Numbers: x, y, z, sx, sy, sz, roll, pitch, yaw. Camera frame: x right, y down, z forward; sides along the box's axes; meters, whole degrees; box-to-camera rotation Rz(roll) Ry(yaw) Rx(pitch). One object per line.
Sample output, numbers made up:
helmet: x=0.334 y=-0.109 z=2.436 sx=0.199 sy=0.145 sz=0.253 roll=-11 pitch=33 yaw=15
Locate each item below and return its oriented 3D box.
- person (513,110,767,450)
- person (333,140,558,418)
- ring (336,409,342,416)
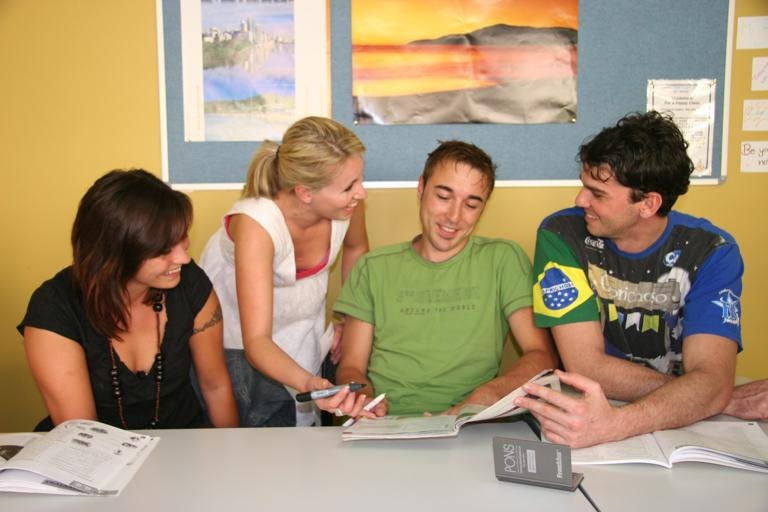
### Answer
person: x=0.921 y=0.017 z=2.156 sx=0.746 sy=1.046 sz=0.808 roll=2 pitch=12 yaw=11
person: x=0.253 y=0.108 z=2.362 sx=0.855 sy=1.065 sz=0.787 roll=3 pitch=11 yaw=-1
ring: x=-0.148 y=0.520 z=2.046 sx=0.012 sy=0.018 sz=0.013 roll=29 pitch=57 yaw=32
